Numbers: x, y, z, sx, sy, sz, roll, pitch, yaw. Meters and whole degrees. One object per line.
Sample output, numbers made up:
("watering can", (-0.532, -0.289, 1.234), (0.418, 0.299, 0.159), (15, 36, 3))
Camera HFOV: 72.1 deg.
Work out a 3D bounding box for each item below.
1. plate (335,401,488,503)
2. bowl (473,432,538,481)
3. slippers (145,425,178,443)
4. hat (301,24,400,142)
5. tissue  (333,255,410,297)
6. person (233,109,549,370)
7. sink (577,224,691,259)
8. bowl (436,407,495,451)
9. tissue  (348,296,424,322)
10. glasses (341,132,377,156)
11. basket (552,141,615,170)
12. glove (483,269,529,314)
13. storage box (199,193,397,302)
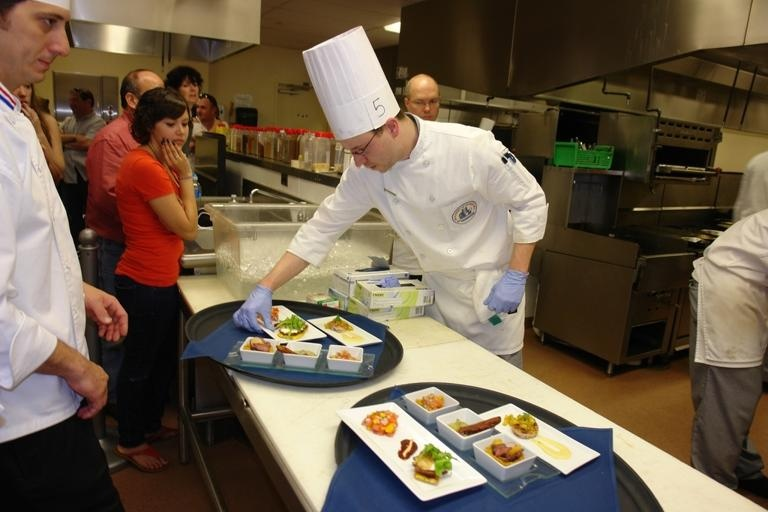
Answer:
("plate", (0.066, 0.574, 1.593), (0.185, 0.035, 0.421), (-3, 28, -32))
("bowl", (0.361, 0.567, 1.561), (0.112, 0.061, 0.136), (-6, 11, -27))
("slippers", (-1.209, 0.965, 2.899), (0.178, 0.077, 0.065), (-9, 13, -34))
("hat", (-0.129, -0.666, 2.049), (0.324, 0.402, 0.192), (-4, 19, -8))
("tissue ", (-0.065, 0.084, 2.446), (0.314, 0.162, 0.201), (-4, 11, -26))
("person", (0.067, 0.117, 2.491), (1.229, 1.484, 0.895), (-7, 24, -2))
("sink", (2.054, -0.137, 4.067), (0.475, 0.138, 0.441), (-2, 12, -14))
("bowl", (0.238, 0.538, 1.671), (0.110, 0.057, 0.135), (-7, 11, -31))
("tissue ", (0.001, 0.243, 2.299), (0.159, 0.045, 0.171), (-4, 10, -34))
("glasses", (-0.078, -0.437, 2.049), (0.026, 0.096, 0.087), (8, 7, -42))
("basket", (1.538, -0.782, 4.057), (0.351, 0.175, 0.230), (-6, 15, -25))
("glove", (0.513, 0.150, 2.183), (0.134, 0.196, 0.053), (29, 1, 13))
("storage box", (-0.426, -0.062, 2.607), (0.673, 0.316, 0.545), (-4, 12, -27))
